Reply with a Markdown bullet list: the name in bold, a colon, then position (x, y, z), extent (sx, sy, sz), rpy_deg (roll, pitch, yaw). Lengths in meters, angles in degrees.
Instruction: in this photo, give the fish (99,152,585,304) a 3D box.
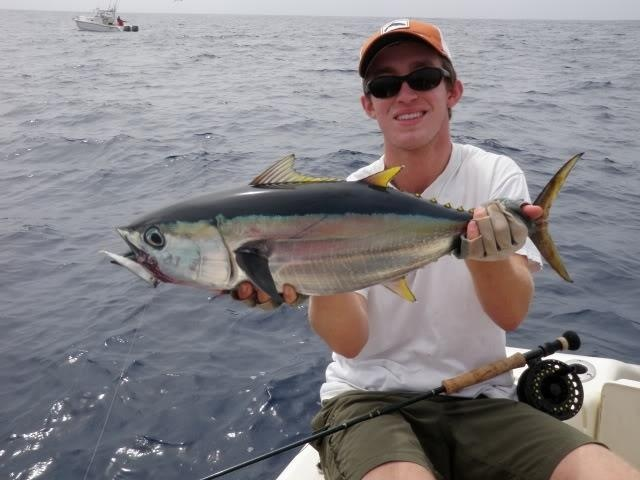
- **fish**: position (-0.153, -0.025, 3.560), extent (2.194, 0.801, 0.717), rpy_deg (-6, 36, -7)
